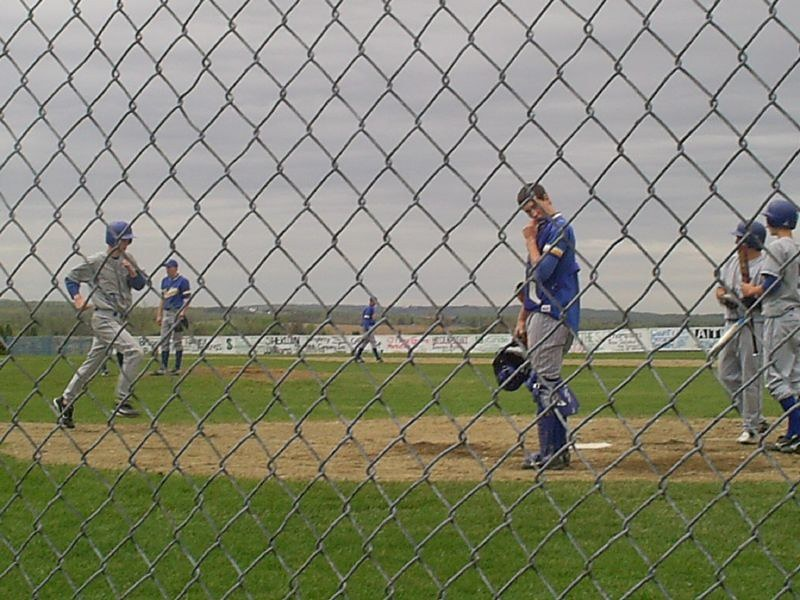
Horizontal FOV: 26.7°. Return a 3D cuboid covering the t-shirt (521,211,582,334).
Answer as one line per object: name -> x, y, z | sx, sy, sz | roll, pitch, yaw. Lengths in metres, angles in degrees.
t-shirt -> 1.075, -0.199, 12.014 | 0.289, 0.262, 0.875 | 9, 21, 13

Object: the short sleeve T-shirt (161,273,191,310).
short sleeve T-shirt -> -1.687, -0.057, 12.749 | 0.286, 0.306, 0.161 | 6, -1, 29

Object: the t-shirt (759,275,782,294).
t-shirt -> 2.997, -0.130, 13.699 | 0.160, 0.154, 0.089 | -2, -4, 23

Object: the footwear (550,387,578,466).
footwear -> 1.379, 1.001, 14.284 | 0.175, 0.611, 0.187 | 2, 5, -17

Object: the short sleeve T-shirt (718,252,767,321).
short sleeve T-shirt -> 2.804, -0.107, 13.831 | 0.330, 0.588, 0.521 | -4, -14, 42

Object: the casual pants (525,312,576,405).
casual pants -> 1.205, 0.450, 13.601 | 0.278, 0.271, 0.782 | 18, -5, 14
